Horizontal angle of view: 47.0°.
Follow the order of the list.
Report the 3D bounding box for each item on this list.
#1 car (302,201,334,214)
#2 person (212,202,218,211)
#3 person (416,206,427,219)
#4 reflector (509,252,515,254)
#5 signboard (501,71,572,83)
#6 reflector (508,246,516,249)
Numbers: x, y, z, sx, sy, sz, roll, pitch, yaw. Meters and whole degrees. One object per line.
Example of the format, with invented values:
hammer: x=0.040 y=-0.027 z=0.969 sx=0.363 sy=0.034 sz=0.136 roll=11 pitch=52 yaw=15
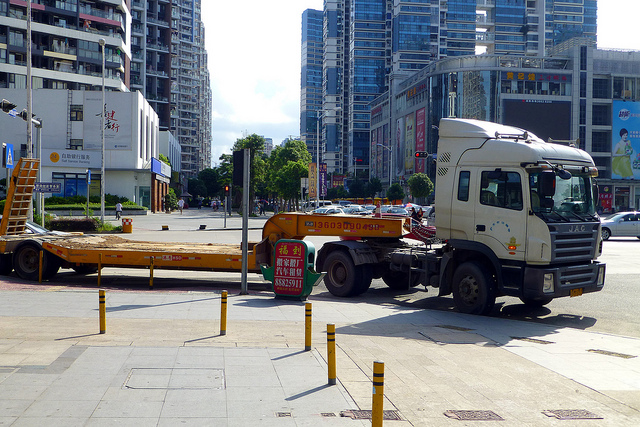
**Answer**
car: x=-0.196 y=-0.794 z=84.811 sx=2.536 sy=1.353 sz=1.646 roll=3 pitch=6 yaw=29
person: x=-16.316 y=-1.167 z=116.462 sx=0.925 sy=1.217 sz=2.177 roll=0 pitch=-2 yaw=-9
person: x=6.105 y=-0.073 z=43.986 sx=0.905 sy=0.919 sz=0.242 roll=1 pitch=-5 yaw=-5
reflector: x=5.815 y=1.190 z=22.318 sx=0.189 sy=0.065 sz=0.009 roll=3 pitch=0 yaw=12
signboard: x=33.961 y=-21.507 z=115.321 sx=12.052 sy=1.470 sz=1.217 roll=-1 pitch=1 yaw=-17
reflector: x=5.812 y=1.023 z=22.310 sx=0.210 sy=0.080 sz=0.027 roll=0 pitch=1 yaw=26
